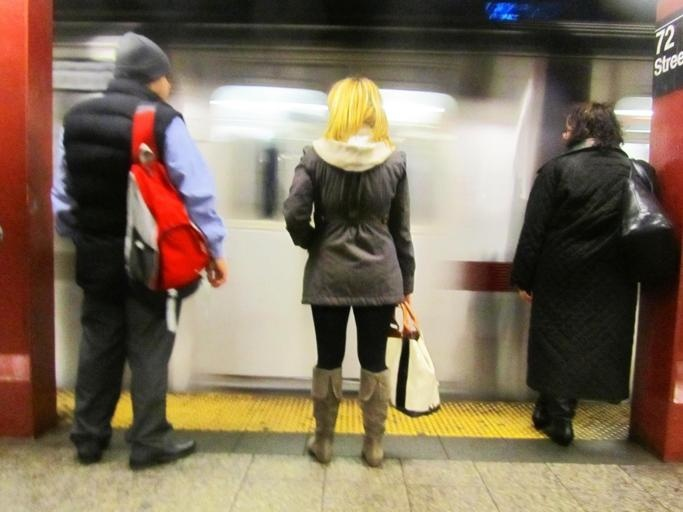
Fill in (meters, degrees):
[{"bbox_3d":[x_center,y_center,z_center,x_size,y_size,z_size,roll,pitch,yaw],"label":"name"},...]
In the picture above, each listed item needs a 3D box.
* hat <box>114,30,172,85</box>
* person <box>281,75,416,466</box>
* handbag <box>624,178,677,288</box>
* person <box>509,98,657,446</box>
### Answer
[{"bbox_3d":[-1.150,-1.156,3.763,0.335,0.232,0.245,23,38,32],"label":"hat"},{"bbox_3d":[0.047,0.105,3.859,0.766,2.293,0.308,1,7,3],"label":"person"},{"bbox_3d":[1.871,-0.144,3.950,0.367,0.712,0.263,-5,9,-39],"label":"handbag"},{"bbox_3d":[1.496,-0.030,4.153,0.755,1.901,0.335,4,8,23],"label":"person"}]
